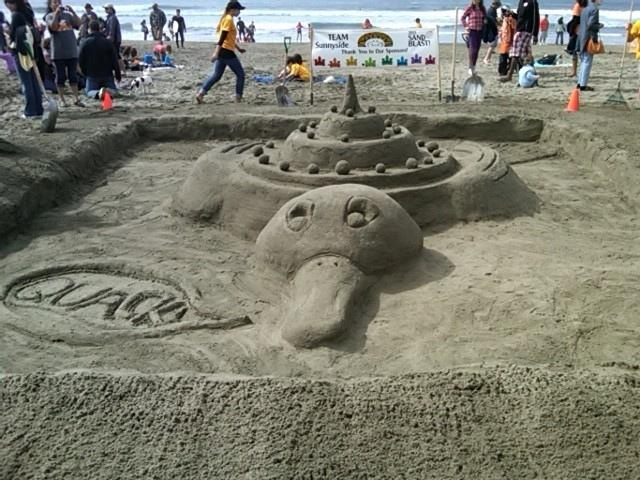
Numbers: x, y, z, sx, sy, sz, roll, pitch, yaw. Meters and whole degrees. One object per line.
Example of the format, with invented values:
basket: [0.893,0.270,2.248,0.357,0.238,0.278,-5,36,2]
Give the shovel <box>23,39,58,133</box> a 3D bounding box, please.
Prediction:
shovel: [-4.225,-2.321,9.335,0.155,1.298,0.281,-15,0,11]
